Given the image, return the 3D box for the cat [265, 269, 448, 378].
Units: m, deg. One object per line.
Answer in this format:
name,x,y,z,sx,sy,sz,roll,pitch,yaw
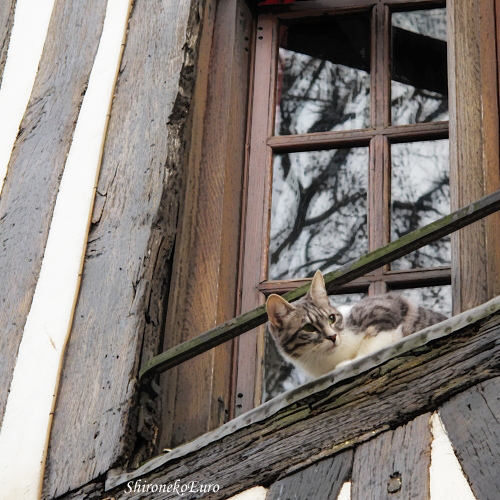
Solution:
cat,0.318,0.255,4.087,0.530,0.308,0.201,-8,-21,-33
